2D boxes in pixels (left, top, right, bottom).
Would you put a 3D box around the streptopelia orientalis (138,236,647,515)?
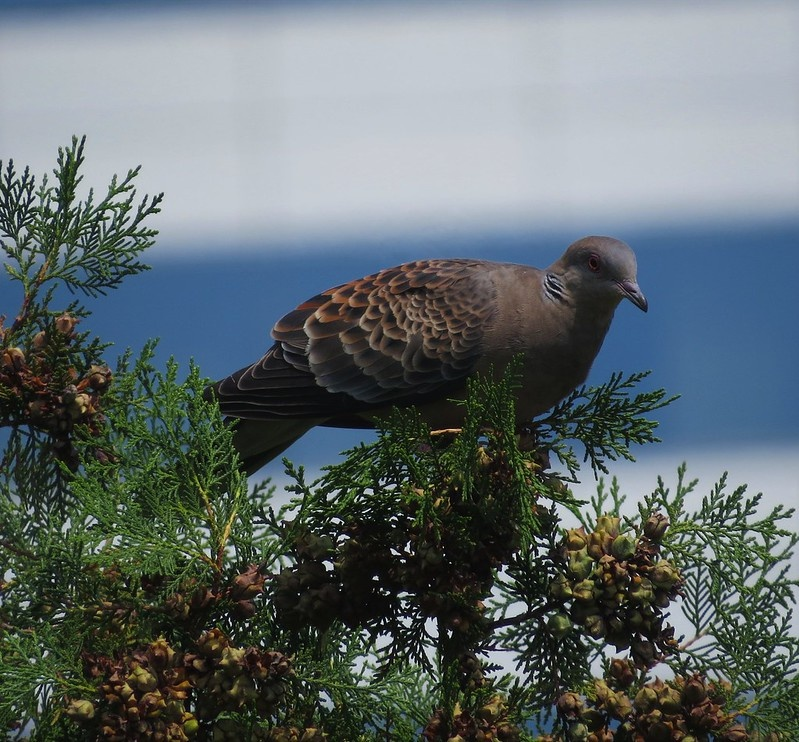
[{"bbox_3d":[-0.014,-0.052,3.461,1.035,0.536,0.366,8,7,30],"label":"streptopelia orientalis"}]
